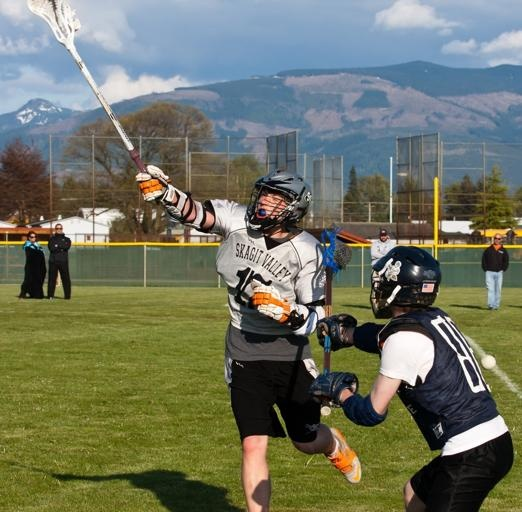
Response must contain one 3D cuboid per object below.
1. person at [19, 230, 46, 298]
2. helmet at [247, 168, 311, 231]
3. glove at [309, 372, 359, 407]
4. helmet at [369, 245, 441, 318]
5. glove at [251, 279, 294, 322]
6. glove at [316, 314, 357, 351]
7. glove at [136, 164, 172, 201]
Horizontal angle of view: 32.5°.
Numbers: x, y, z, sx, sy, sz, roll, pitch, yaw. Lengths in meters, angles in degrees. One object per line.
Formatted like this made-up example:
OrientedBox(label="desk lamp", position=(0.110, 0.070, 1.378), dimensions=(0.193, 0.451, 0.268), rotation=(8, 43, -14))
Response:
OrientedBox(label="person", position=(-5.157, 0.200, 20.369), dimensions=(0.585, 1.565, 1.394), rotation=(0, 2, -14))
OrientedBox(label="helmet", position=(0.130, -0.357, 5.885), dimensions=(0.431, 0.413, 0.341), rotation=(6, 4, -43))
OrientedBox(label="glove", position=(0.416, 0.719, 5.057), dimensions=(0.228, 0.111, 0.199), rotation=(-22, 23, -33))
OrientedBox(label="helmet", position=(0.728, 0.132, 5.028), dimensions=(0.339, 0.405, 0.427), rotation=(0, 11, -23))
OrientedBox(label="glove", position=(0.054, 0.271, 5.412), dimensions=(0.238, 0.194, 0.111), rotation=(28, -47, -28))
OrientedBox(label="glove", position=(0.477, 0.476, 5.453), dimensions=(0.294, 0.135, 0.312), rotation=(11, -6, -1))
OrientedBox(label="glove", position=(-0.680, -0.486, 5.793), dimensions=(0.189, 0.249, 0.125), rotation=(6, -14, 2))
